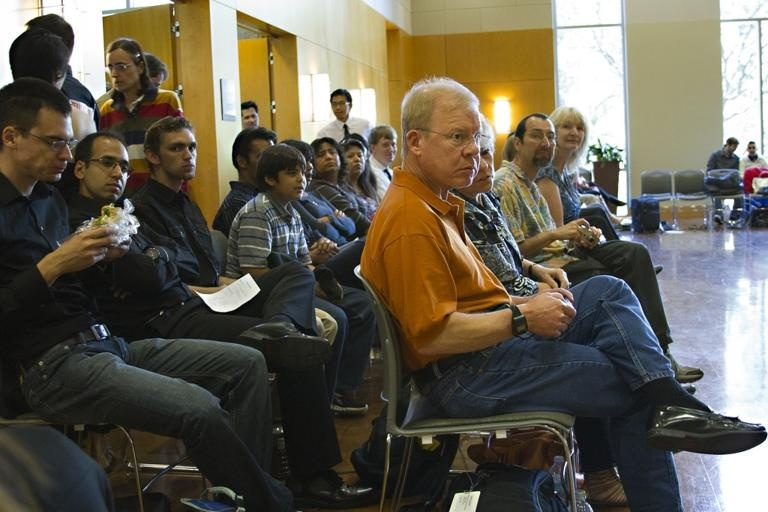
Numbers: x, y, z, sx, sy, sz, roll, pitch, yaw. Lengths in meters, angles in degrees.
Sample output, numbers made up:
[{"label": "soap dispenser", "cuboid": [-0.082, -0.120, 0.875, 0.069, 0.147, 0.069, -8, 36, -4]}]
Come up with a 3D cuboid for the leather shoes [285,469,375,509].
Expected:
[{"label": "leather shoes", "cuboid": [-0.246, 1.091, 3.120, 0.300, 0.117, 0.175, -1, 4, 1]}]

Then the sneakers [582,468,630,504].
[{"label": "sneakers", "cuboid": [0.986, 1.014, 2.960, 0.252, 0.186, 0.135, 2, -18, -7]}]

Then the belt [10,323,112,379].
[{"label": "belt", "cuboid": [-1.299, 0.373, 2.702, 0.274, 0.092, 0.201, -26, 4, -12]}]

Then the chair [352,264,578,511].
[{"label": "chair", "cuboid": [0.316, 0.554, 3.221, 1.057, 1.389, 0.886, -2, -3, 10]}]

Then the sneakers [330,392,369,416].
[{"label": "sneakers", "cuboid": [-0.204, 0.912, 4.094, 0.252, 0.107, 0.093, -1, 0, 6]}]

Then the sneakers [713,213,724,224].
[{"label": "sneakers", "cuboid": [6.539, -0.740, 13.021, 0.141, 0.190, 0.195, 5, -1, 34]}]

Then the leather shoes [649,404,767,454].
[{"label": "leather shoes", "cuboid": [1.172, 0.655, 2.578, 0.499, 0.190, 0.168, 3, -39, 4]}]

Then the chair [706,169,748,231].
[{"label": "chair", "cuboid": [6.613, -1.075, 12.828, 0.822, 1.137, 0.810, -8, 3, -5]}]

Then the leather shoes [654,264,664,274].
[{"label": "leather shoes", "cuboid": [2.169, 0.098, 5.263, 0.095, 0.044, 0.125, 18, 6, 13]}]

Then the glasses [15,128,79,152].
[{"label": "glasses", "cuboid": [-1.393, -0.479, 2.749, 0.157, 0.047, 0.155, 21, 7, 18]}]

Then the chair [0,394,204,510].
[{"label": "chair", "cuboid": [-1.213, 0.888, 3.017, 0.655, 0.623, 0.922, -1, -5, -3]}]

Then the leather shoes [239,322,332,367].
[{"label": "leather shoes", "cuboid": [-0.420, 0.369, 3.051, 0.479, 0.158, 0.220, 3, 0, 9]}]

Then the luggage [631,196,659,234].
[{"label": "luggage", "cuboid": [4.842, -0.801, 12.749, 0.801, 0.593, 1.049, 1, 5, 15]}]

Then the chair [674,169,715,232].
[{"label": "chair", "cuboid": [6.282, -1.053, 13.611, 0.815, 1.211, 0.850, -9, -17, 40]}]
